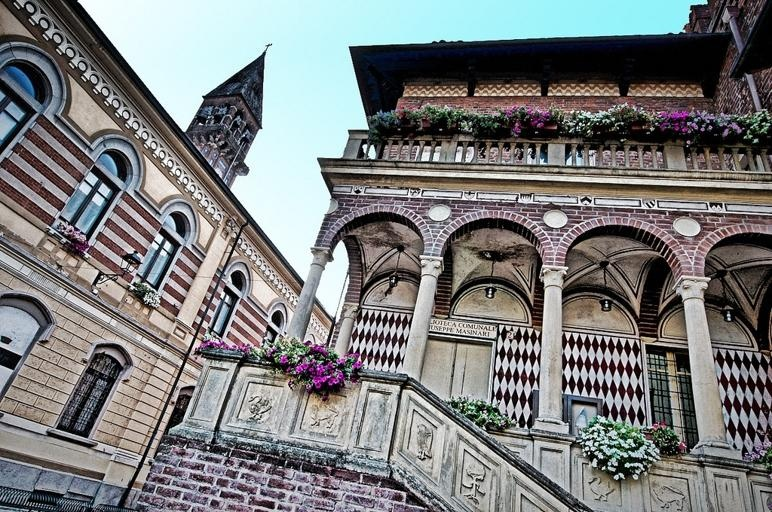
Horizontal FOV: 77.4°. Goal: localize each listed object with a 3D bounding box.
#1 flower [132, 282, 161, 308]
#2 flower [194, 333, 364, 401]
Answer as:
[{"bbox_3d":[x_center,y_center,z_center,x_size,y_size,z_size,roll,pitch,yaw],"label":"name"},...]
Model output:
[{"bbox_3d":[-8.554,1.370,17.098,0.310,0.644,1.338,-1,-35,18],"label":"flower"},{"bbox_3d":[-1.947,2.199,10.125,2.708,0.849,1.536,13,-4,5],"label":"flower"}]
